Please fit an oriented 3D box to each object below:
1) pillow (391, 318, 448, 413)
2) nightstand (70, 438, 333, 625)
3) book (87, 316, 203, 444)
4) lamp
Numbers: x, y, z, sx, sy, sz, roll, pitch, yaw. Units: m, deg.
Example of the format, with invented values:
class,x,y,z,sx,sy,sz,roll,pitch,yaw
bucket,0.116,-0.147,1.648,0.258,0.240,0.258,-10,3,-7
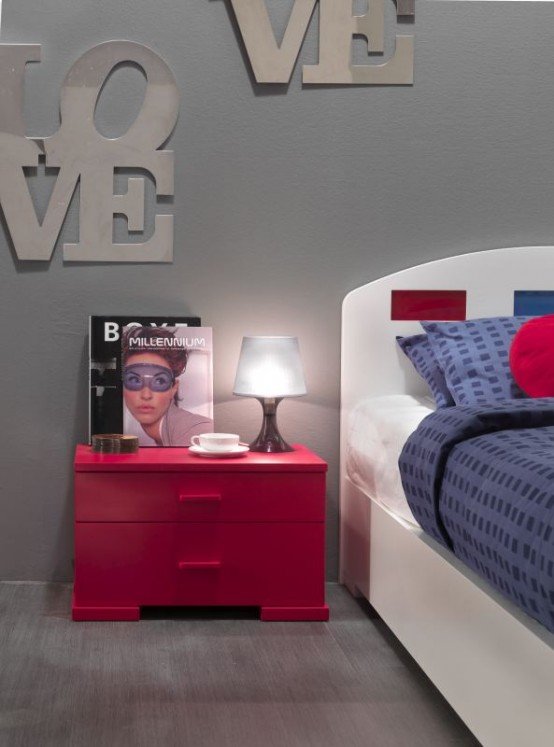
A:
class,x,y,z,sx,sy,sz,roll,pitch,yaw
pillow,0.434,-0.022,1.939,0.060,0.201,0.203,-24,-3,4
nightstand,-0.200,0.273,1.864,0.710,0.426,0.421,0,-2,-4
book,-0.391,0.030,1.973,0.386,0.415,0.053,1,-1,0
lamp,-0.028,0.054,1.932,0.193,0.341,0.112,1,-1,25
